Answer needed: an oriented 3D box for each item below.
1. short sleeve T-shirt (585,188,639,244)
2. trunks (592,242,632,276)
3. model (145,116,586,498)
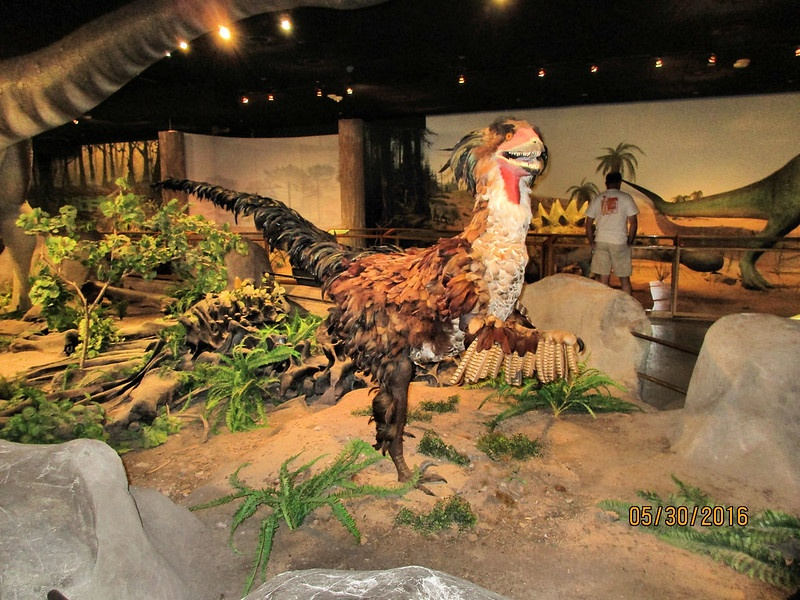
[{"bbox_3d":[2.752,-1.094,5.806,0.714,0.644,0.304,4,13,34],"label":"short sleeve T-shirt"},{"bbox_3d":[2.775,-0.535,5.832,0.247,0.370,0.419,-11,15,-33],"label":"trunks"},{"bbox_3d":[-0.154,-0.072,3.287,2.926,2.103,1.034,1,24,20],"label":"model"}]
